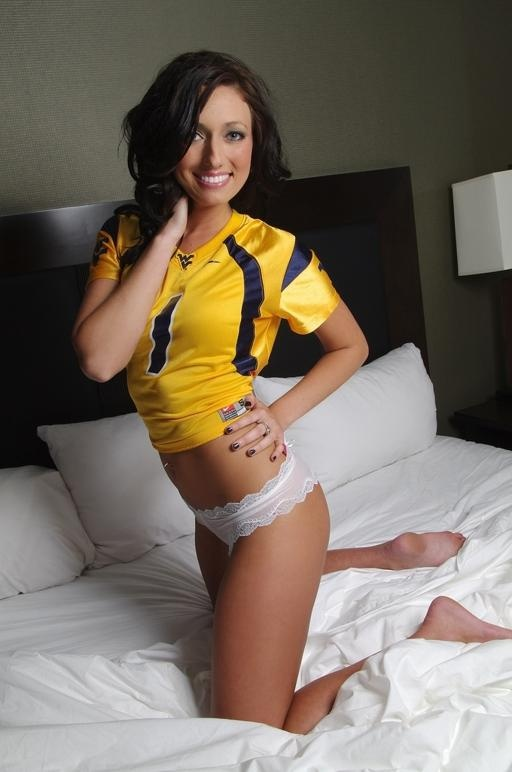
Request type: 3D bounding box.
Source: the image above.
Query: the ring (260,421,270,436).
[{"bbox_3d":[0.017,0.077,1.142,0.011,0.021,0.017,-32,-2,-16],"label":"ring"}]

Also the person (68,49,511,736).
[{"bbox_3d":[-0.073,-0.025,1.172,0.488,1.153,0.502,-3,8,7],"label":"person"}]
